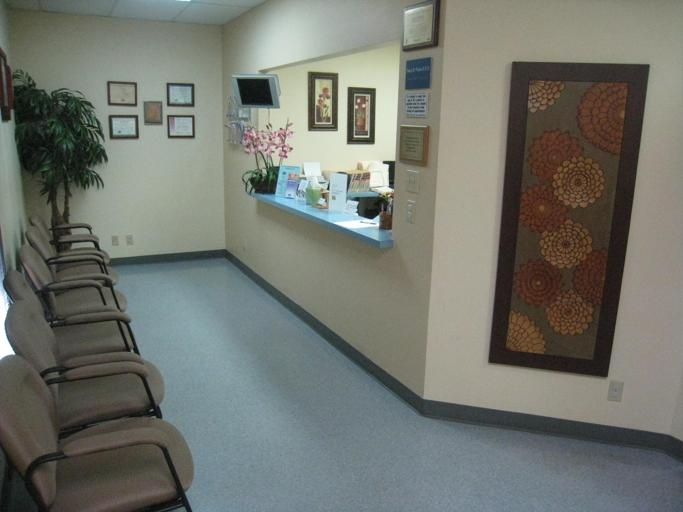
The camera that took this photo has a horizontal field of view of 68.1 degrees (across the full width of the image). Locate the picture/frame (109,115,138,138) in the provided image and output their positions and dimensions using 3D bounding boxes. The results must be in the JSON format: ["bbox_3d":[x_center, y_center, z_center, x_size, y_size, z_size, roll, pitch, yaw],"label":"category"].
[{"bbox_3d":[-2.595,-1.546,5.986,0.246,0.244,0.020,-4,11,-29],"label":"picture/frame"}]

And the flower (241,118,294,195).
[{"bbox_3d":[-0.791,-1.050,5.436,0.529,0.800,0.769,-1,13,-12],"label":"flower"}]

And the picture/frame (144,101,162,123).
[{"bbox_3d":[-2.280,-1.749,6.099,0.225,0.314,0.031,-2,13,-18],"label":"picture/frame"}]

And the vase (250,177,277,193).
[{"bbox_3d":[-0.818,-0.749,5.329,0.171,0.104,0.211,1,2,-3],"label":"vase"}]

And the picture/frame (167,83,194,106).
[{"bbox_3d":[-1.979,-1.988,6.168,0.262,0.260,0.021,-1,11,-22],"label":"picture/frame"}]

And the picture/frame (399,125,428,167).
[{"bbox_3d":[0.462,-0.714,3.238,0.053,0.242,0.282,-5,15,-26],"label":"picture/frame"}]

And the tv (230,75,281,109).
[{"bbox_3d":[-0.853,-1.651,5.046,0.668,0.310,0.181,13,17,38],"label":"tv"}]
